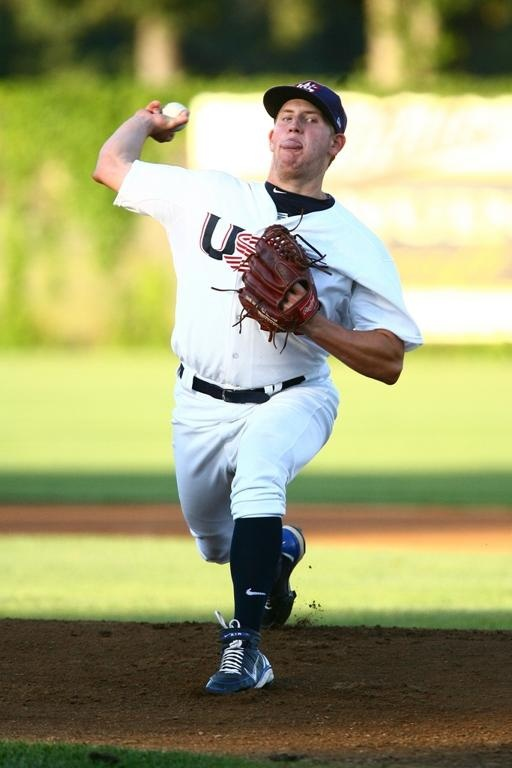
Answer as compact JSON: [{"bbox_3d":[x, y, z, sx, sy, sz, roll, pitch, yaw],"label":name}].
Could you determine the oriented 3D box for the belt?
[{"bbox_3d":[-0.030,0.016,3.437,0.338,0.057,0.129,0,30,1],"label":"belt"}]

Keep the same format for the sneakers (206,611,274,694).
[{"bbox_3d":[-0.031,0.701,3.007,0.103,0.163,0.263,-6,-1,23],"label":"sneakers"}]

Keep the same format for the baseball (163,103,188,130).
[{"bbox_3d":[-0.266,-0.874,3.851,0.106,0.060,0.104,-2,4,-4],"label":"baseball"}]

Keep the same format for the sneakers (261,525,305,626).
[{"bbox_3d":[0.092,0.625,3.772,0.140,0.336,0.158,5,23,9],"label":"sneakers"}]
